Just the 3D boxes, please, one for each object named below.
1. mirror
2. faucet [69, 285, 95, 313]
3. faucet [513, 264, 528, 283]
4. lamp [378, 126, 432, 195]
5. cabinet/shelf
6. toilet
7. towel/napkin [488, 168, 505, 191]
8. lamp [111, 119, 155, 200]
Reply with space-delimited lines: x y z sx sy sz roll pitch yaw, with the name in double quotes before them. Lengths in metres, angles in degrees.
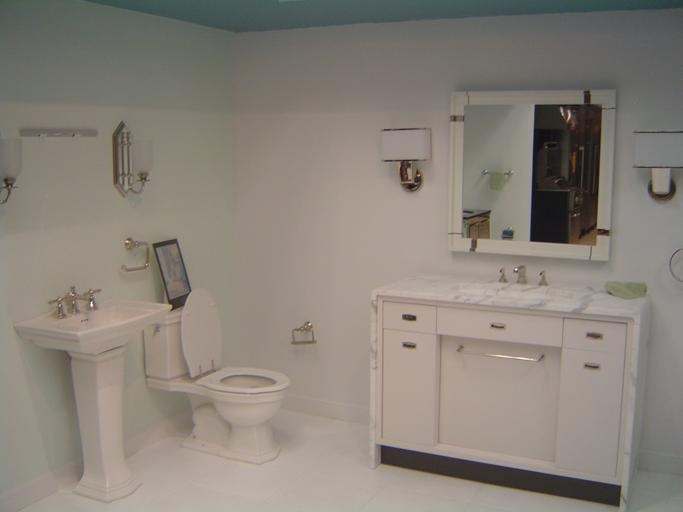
"mirror" 1.296 -0.559 3.550 1.041 1.151 0.053 4 9 24
"faucet" -1.607 0.262 3.349 0.150 0.155 0.158 8 11 34
"faucet" 1.192 0.112 3.580 0.087 0.116 0.219 3 11 19
"lamp" 0.467 -0.703 3.850 0.437 0.584 0.168 1 10 20
"cabinet/shelf" 1.031 0.785 3.277 1.042 0.699 0.350 2 4 23
"toilet" -0.858 0.813 3.778 1.039 1.121 0.413 4 11 24
"towel/napkin" 1.048 -0.526 3.629 0.119 0.132 0.038 3 7 31
"lamp" -1.389 -0.648 3.587 0.272 0.498 0.225 -10 14 -41
